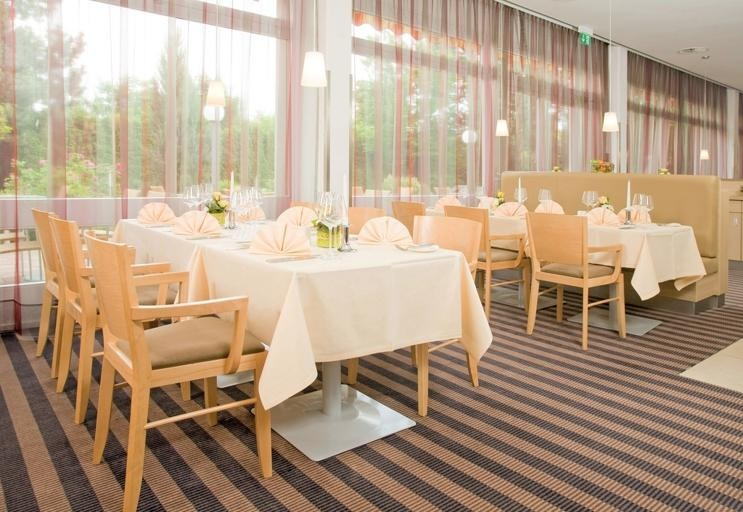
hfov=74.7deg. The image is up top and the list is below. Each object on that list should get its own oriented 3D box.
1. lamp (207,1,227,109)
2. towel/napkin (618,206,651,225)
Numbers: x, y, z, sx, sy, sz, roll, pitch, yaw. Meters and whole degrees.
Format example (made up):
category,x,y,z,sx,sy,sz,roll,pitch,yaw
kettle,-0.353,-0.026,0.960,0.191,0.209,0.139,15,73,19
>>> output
category,x,y,z,sx,sy,sz,roll,pitch,yaw
lamp,-1.727,-2.237,5.327,0.209,1.215,0.729,-4,13,-16
towel/napkin,2.719,-0.411,5.088,0.291,0.118,0.222,-6,8,-27
